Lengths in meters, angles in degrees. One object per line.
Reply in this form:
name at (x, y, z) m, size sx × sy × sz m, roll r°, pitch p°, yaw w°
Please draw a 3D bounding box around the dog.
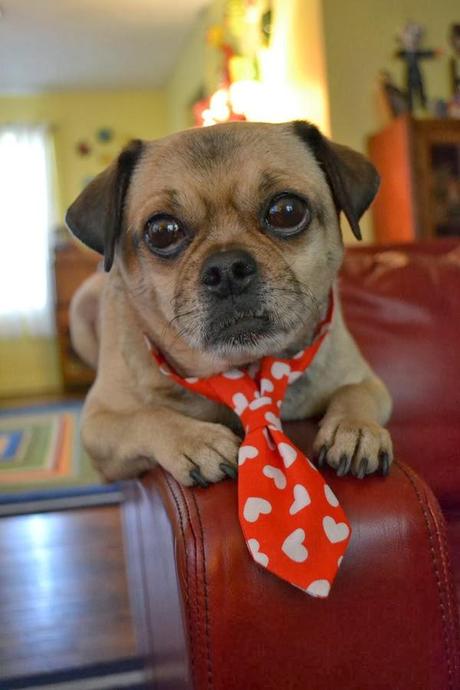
dog at (-0.044, -0.088, 1.271) m, size 0.600 × 0.549 × 0.970 m, roll -5°, pitch 6°, yaw -14°
